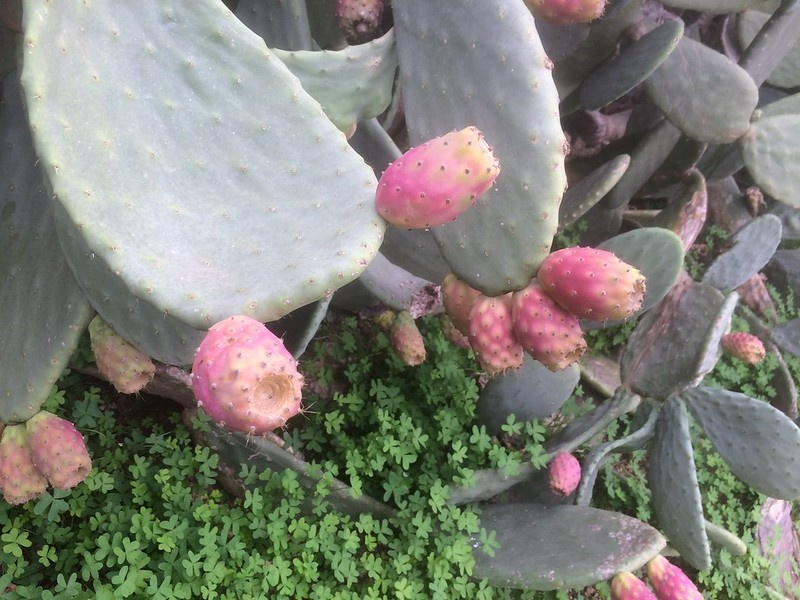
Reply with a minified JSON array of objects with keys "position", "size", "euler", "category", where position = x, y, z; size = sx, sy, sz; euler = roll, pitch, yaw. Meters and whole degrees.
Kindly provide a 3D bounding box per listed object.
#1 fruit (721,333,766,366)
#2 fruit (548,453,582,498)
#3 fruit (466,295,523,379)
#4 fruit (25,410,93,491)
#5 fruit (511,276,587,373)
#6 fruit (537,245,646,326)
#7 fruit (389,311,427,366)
[{"position":[1.076,0.146,2.734],"size":[0.082,0.127,0.087],"euler":[13,89,2],"category":"fruit"},{"position":[0.443,0.452,2.329],"size":[0.074,0.093,0.086],"euler":[9,95,33],"category":"fruit"},{"position":[0.229,0.085,2.177],"size":[0.121,0.118,0.195],"euler":[-7,92,-10],"category":"fruit"},{"position":[-0.819,0.364,2.076],"size":[0.115,0.104,0.201],"euler":[-31,75,-32],"category":"fruit"},{"position":[0.345,0.067,2.125],"size":[0.135,0.121,0.228],"euler":[-38,72,-2],"category":"fruit"},{"position":[0.400,-0.061,2.136],"size":[0.196,0.275,0.190],"euler":[-2,101,-25],"category":"fruit"},{"position":[0.021,0.115,2.610],"size":[0.089,0.093,0.167],"euler":[-23,79,18],"category":"fruit"}]
